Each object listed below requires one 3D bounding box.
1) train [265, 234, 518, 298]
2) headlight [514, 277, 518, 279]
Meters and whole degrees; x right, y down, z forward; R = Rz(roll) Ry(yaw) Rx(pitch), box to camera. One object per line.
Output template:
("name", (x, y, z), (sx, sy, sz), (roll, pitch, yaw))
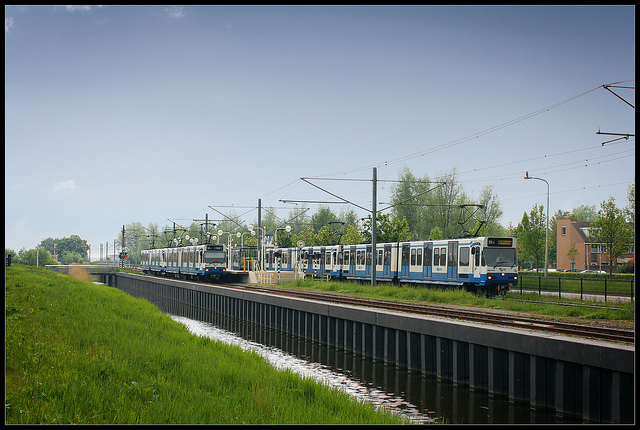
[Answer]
("train", (4.652, 3.483, 42.490), (3.654, 3.326, 23.478), (5, -6, -26))
("headlight", (10.681, 3.425, 31.996), (0.123, 0.123, 0.031), (-1, 2, 7))
